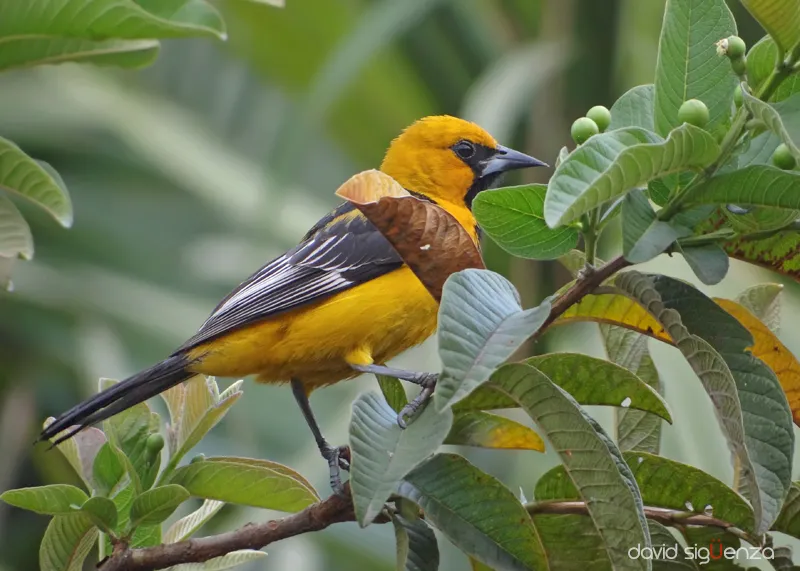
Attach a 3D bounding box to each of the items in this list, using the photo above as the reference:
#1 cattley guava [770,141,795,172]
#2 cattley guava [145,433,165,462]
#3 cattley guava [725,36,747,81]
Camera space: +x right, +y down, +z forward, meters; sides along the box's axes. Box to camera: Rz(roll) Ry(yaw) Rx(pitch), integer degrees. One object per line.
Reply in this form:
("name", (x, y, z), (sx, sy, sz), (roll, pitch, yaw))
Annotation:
("cattley guava", (1.330, -0.449, 4.078), (0.098, 0.119, 0.099), (-1, -10, 10))
("cattley guava", (-0.956, 0.610, 4.577), (0.071, 0.111, 0.099), (-5, -34, -14))
("cattley guava", (1.154, -0.783, 4.032), (0.069, 0.063, 0.145), (-11, -68, 11))
